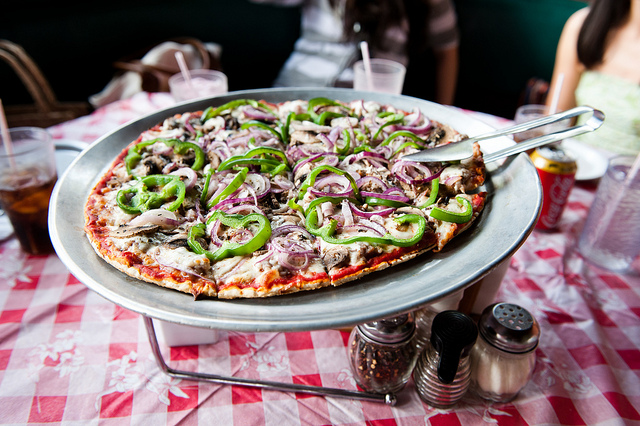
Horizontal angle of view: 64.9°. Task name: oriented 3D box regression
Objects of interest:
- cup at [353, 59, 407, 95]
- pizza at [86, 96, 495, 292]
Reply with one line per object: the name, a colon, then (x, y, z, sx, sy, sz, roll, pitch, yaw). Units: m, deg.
cup: (0.338, -0.889, 3.257, 0.293, 0.244, 0.318, 0, 23, 0)
pizza: (-0.149, -0.178, 2.422, 1.919, 0.301, 1.218, -2, 42, -2)
